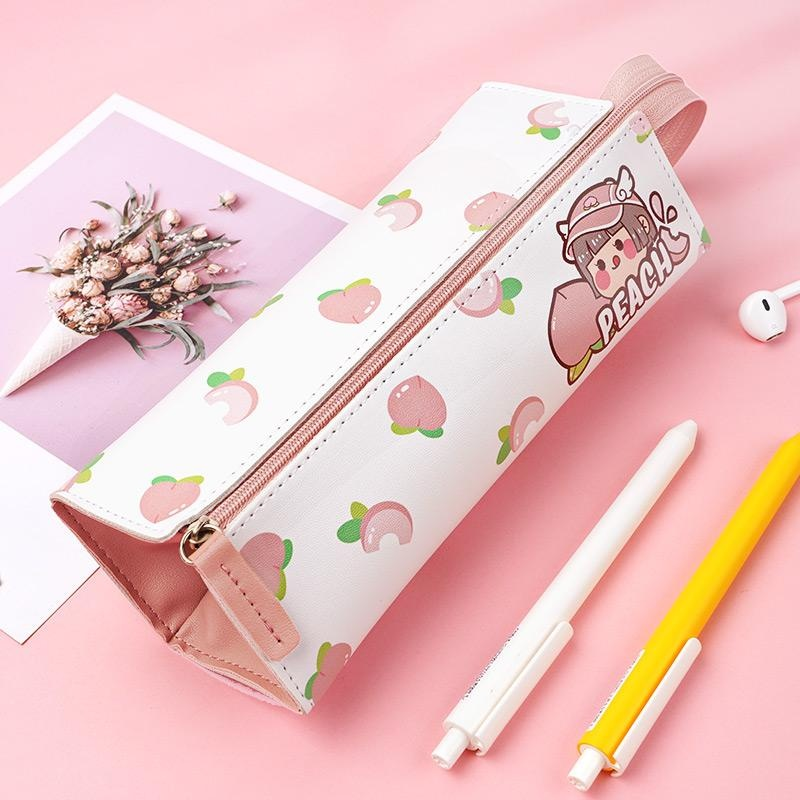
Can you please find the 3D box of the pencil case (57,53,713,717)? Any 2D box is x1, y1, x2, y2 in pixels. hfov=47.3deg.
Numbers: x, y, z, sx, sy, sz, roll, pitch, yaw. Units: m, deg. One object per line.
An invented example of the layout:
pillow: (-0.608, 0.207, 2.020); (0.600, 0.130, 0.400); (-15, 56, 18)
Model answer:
pencil case: (0.046, -0.045, 0.943); (0.697, 0.342, 0.271); (-45, -29, -17)

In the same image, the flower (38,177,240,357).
flower: (-0.291, -0.138, 1.023); (0.189, 0.192, 0.052); (33, -28, 11)
